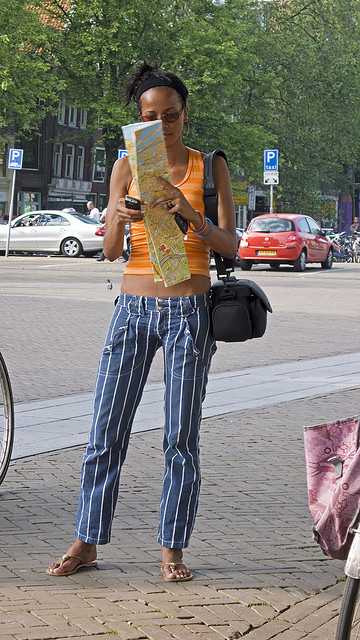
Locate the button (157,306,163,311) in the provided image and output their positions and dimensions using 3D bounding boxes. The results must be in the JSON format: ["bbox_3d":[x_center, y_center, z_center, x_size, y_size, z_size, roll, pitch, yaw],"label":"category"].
[{"bbox_3d":[-0.071,-0.044,2.297,0.016,0.011,0.013,20,20,29],"label":"button"}]

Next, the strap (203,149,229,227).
[{"bbox_3d":[0.120,-0.474,2.315,0.088,0.252,0.090,-3,16,-9],"label":"strap"}]

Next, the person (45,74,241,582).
[{"bbox_3d":[-0.151,0.040,2.339,0.562,1.832,0.592,0,0,34],"label":"person"}]

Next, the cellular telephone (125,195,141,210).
[{"bbox_3d":[-0.146,-0.387,2.127,0.053,0.039,0.036,15,8,23],"label":"cellular telephone"}]

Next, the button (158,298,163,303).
[{"bbox_3d":[-0.068,-0.073,2.302,0.012,0.016,0.006,5,12,-4],"label":"button"}]

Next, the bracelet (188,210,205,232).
[{"bbox_3d":[0.061,-0.349,2.244,0.027,0.069,0.071,6,0,-28],"label":"bracelet"}]

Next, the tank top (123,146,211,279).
[{"bbox_3d":[-0.044,-0.392,2.403,0.342,0.494,0.270,-6,13,-23],"label":"tank top"}]
